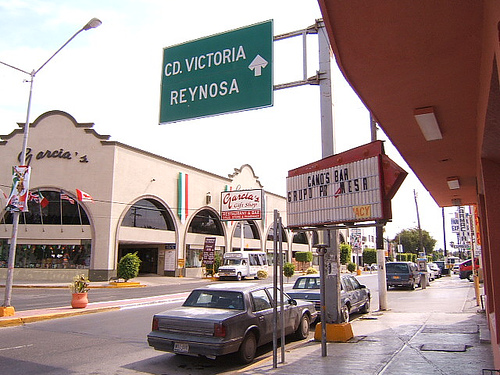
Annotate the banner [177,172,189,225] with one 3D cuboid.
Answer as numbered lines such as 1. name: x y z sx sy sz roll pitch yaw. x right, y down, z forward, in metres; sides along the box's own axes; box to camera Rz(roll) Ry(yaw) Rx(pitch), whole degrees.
1. banner: -7.307 1.245 43.458 0.712 5.511 1.922 -7 -13 22

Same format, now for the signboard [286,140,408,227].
1. signboard: 2.328 0.098 10.081 0.402 1.947 3.435 7 -12 -31

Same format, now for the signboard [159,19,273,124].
1. signboard: -0.683 -2.803 9.937 3.704 2.537 0.075 -9 -15 28

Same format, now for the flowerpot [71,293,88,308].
1. flowerpot: -7.823 5.131 18.311 0.627 0.543 0.638 3 -7 -31

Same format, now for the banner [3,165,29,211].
1. banner: -9.506 0.020 16.346 0.797 1.937 0.447 -4 -13 11

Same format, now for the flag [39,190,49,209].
1. flag: -18.051 1.082 34.825 0.192 0.740 1.721 -45 -9 -50

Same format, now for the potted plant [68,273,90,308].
1. potted plant: -8.110 4.942 19.004 0.741 1.515 1.723 3 -14 -21

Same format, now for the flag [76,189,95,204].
1. flag: -14.162 0.677 34.414 1.421 1.566 3.311 3 -14 -21
